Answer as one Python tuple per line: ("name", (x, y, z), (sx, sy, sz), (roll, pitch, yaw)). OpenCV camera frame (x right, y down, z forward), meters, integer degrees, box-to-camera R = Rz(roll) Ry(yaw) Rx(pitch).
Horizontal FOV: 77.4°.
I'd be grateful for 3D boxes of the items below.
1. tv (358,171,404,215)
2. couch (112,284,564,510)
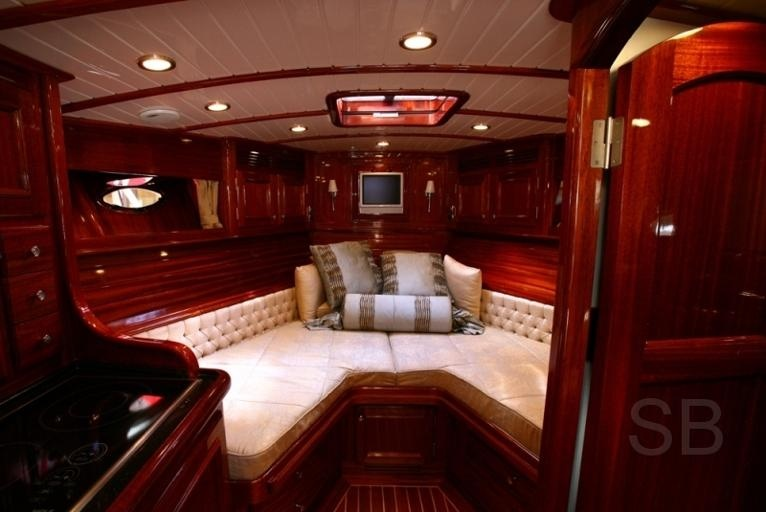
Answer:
("tv", (-0.013, -0.602, 4.462), (0.396, 0.324, 0.051), (0, 4, -1))
("couch", (-0.161, 0.737, 3.081), (1.633, 0.623, 1.458), (1, 5, 8))
